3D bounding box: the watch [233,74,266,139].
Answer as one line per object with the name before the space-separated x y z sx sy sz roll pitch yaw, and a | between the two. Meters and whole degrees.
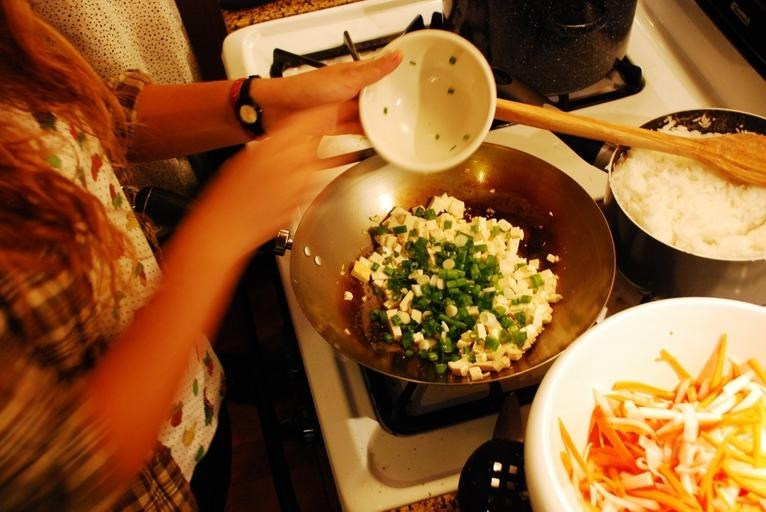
watch | -0.281 -0.322 1.317 0.062 0.111 0.106 -11 38 6
